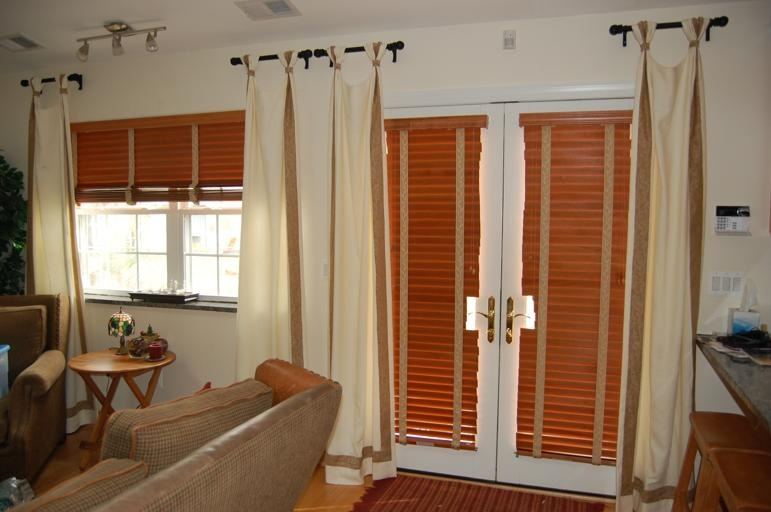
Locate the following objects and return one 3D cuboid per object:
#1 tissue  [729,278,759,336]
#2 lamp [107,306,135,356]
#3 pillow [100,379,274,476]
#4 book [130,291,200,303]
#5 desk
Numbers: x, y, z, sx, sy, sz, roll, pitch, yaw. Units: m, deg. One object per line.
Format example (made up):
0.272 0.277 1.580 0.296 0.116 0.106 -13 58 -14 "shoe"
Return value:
2.603 0.372 4.415 0.192 0.381 0.169 0 4 26 "tissue "
-2.284 0.648 5.269 0.190 0.345 0.474 -3 4 -21 "lamp"
-1.090 0.874 3.485 0.444 0.282 0.772 6 8 39 "pillow"
-1.994 0.373 5.437 0.414 0.082 0.214 0 1 21 "book"
-2.292 1.076 5.310 0.973 1.079 1.029 -2 8 -28 "desk"
